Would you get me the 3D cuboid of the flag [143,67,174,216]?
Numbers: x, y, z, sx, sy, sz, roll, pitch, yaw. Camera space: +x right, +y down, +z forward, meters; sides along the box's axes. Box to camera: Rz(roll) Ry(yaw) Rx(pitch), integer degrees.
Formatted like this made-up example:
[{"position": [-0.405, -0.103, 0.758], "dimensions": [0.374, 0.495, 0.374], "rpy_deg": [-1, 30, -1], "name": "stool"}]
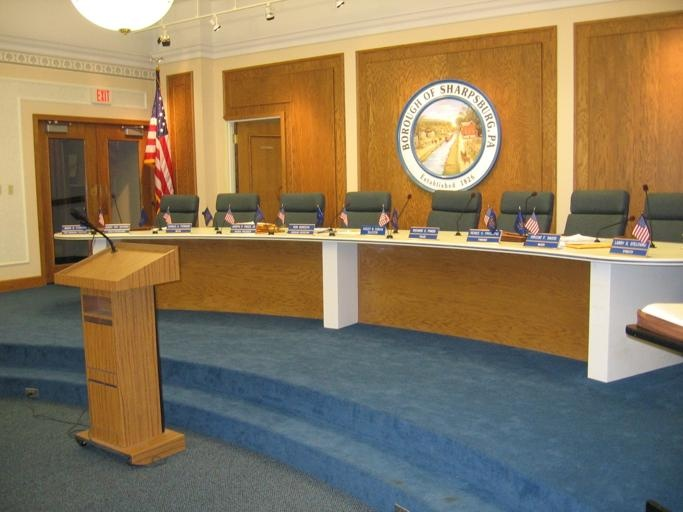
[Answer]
[{"position": [-2.844, -1.827, 7.767], "dimensions": [0.434, 2.046, 0.608], "rpy_deg": [-6, 10, -21], "name": "flag"}]
